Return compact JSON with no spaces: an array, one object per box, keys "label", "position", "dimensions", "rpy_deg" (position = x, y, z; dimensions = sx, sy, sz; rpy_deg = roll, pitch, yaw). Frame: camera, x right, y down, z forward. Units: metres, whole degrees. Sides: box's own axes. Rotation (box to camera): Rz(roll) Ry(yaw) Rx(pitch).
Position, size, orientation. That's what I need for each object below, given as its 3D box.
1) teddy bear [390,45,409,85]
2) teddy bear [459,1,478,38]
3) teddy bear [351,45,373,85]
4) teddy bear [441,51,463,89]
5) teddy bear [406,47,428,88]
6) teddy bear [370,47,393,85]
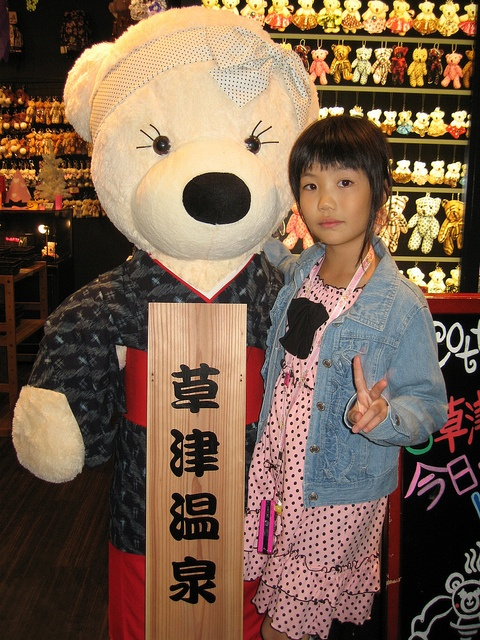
[{"label":"teddy bear","position":[0.943,-1.518,3.139],"dimensions":[0.110,0.057,0.222],"rpy_deg":[11,-35,26]},{"label":"teddy bear","position":[1.297,-1.723,3.018],"dimensions":[0.092,0.172,0.139],"rpy_deg":[6,9,19]},{"label":"teddy bear","position":[0.728,-1.523,3.137],"dimensions":[0.123,0.201,0.124],"rpy_deg":[2,9,-7]},{"label":"teddy bear","position":[1.254,-1.498,3.134],"dimensions":[0.145,0.223,0.129],"rpy_deg":[10,48,19]},{"label":"teddy bear","position":[1.054,-1.517,3.145],"dimensions":[0.112,0.216,0.102],"rpy_deg":[6,9,17]},{"label":"teddy bear","position":[0.837,-1.519,3.150],"dimensions":[0.113,0.186,0.131],"rpy_deg":[5,9,13]}]
